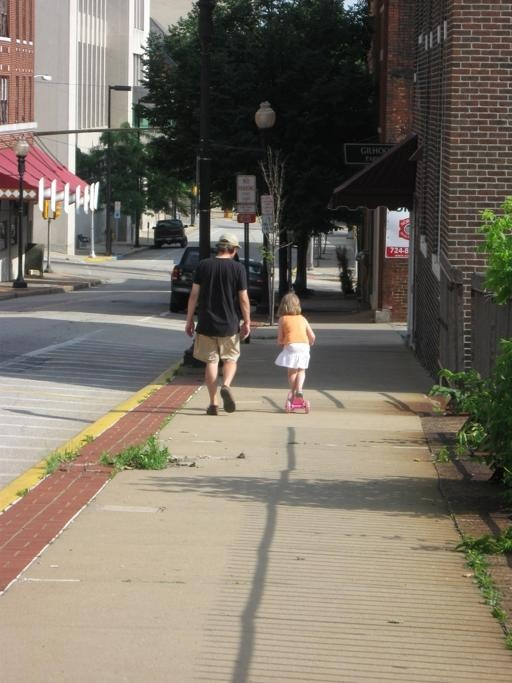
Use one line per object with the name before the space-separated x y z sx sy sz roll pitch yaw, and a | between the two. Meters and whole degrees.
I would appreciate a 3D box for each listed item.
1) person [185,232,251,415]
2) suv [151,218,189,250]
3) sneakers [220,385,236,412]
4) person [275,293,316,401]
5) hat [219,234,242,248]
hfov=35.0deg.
person | -0.394 -0.169 8.182 0.631 1.840 0.633 0 3 -3
suv | -7.289 -8.951 67.369 2.851 2.438 1.896 -2 4 -31
sneakers | -0.276 0.564 8.000 0.124 0.286 0.124 -3 36 25
person | 0.412 0.098 8.788 0.386 1.255 0.625 0 3 1
hat | -0.286 -1.015 8.194 0.146 0.091 0.182 4 9 2
